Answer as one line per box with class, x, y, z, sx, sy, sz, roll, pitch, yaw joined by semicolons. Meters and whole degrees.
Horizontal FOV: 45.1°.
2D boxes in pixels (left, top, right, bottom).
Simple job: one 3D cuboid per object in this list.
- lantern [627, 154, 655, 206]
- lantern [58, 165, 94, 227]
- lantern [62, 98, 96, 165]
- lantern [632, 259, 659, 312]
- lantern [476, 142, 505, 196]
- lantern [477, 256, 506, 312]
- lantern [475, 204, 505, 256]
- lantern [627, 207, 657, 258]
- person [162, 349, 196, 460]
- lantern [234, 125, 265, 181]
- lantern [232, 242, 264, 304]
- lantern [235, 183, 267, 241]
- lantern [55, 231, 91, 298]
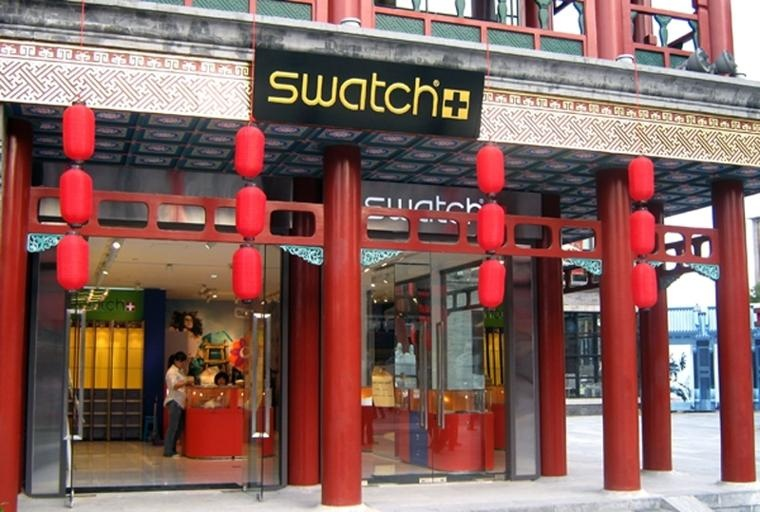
lantern;3.582;-1.086;12.474;0.325;0.674;0.415;-4;-10;14
lantern;-3.637;-0.713;10.924;0.536;0.718;0.528;5;-8;-27
lantern;-3.595;-1.491;10.892;0.351;0.753;0.327;2;-10;-19
lantern;3.707;0.367;12.787;0.331;0.689;0.733;-4;-10;15
lantern;1.443;-1.135;11.867;0.334;0.674;0.255;-2;-9;5
lantern;1.455;0.310;11.855;0.323;0.622;0.313;-2;-9;2
lantern;1.447;-0.386;11.851;0.341;0.673;0.348;-2;-9;5
lantern;3.619;-0.352;12.552;0.313;0.679;0.412;-4;-10;15
person;-3.860;2.775;17.505;0.534;1.932;1.093;1;-10;-12
lantern;-1.614;-1.329;11.334;0.335;0.714;0.357;0;-9;-7
lantern;-1.635;0.193;11.301;0.339;0.690;0.266;2;-10;-17
lantern;-1.629;-0.546;11.341;0.553;0.667;0.545;1;2;-16
lantern;-3.679;0.044;10.922;0.342;0.679;0.377;2;-10;-17
